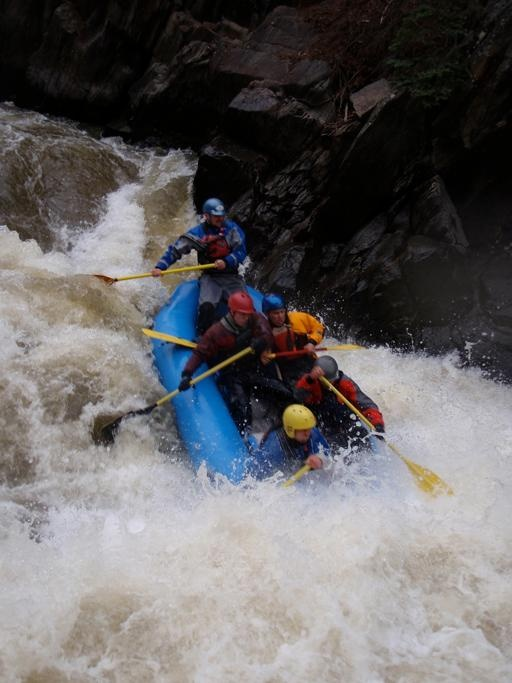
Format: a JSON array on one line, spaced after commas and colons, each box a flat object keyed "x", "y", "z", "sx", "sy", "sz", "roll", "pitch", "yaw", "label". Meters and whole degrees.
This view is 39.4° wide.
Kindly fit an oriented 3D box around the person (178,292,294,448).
[{"x": -0.120, "y": 0.310, "z": 6.964, "sx": 1.056, "sy": 1.507, "sz": 0.927, "roll": 13, "pitch": 25, "yaw": 34, "label": "person"}]

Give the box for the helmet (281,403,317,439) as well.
[{"x": 0.345, "y": 0.655, "z": 6.103, "sx": 0.306, "sy": 0.224, "sz": 0.232, "roll": 29, "pitch": 33, "yaw": 25, "label": "helmet"}]

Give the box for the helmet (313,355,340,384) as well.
[{"x": 0.645, "y": 0.225, "z": 6.655, "sx": 0.198, "sy": 0.201, "sz": 0.256, "roll": -30, "pitch": 54, "yaw": -3, "label": "helmet"}]

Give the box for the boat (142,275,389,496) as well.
[{"x": -0.577, "y": 0.473, "z": 7.122, "sx": 1.433, "sy": 0.464, "sz": 2.243, "roll": -16, "pitch": 56, "yaw": -8, "label": "boat"}]

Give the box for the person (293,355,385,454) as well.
[{"x": 0.752, "y": 0.564, "z": 6.675, "sx": 0.652, "sy": 0.439, "sz": 1.020, "roll": -11, "pitch": 46, "yaw": -15, "label": "person"}]

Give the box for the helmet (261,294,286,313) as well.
[{"x": 0.168, "y": -0.381, "z": 7.054, "sx": 0.162, "sy": 0.212, "sz": 0.186, "roll": -21, "pitch": 94, "yaw": -42, "label": "helmet"}]

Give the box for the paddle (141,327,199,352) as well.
[{"x": -0.888, "y": -0.034, "z": 7.100, "sx": 0.738, "sy": 0.049, "sz": 0.189, "roll": 21, "pitch": 48, "yaw": 27, "label": "paddle"}]

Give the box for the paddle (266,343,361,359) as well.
[{"x": 0.566, "y": 0.092, "z": 7.314, "sx": 1.083, "sy": 0.051, "sz": 0.162, "roll": -5, "pitch": 78, "yaw": -32, "label": "paddle"}]

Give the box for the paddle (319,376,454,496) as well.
[{"x": 1.193, "y": 0.905, "z": 6.614, "sx": 0.183, "sy": 0.103, "sz": 1.544, "roll": -47, "pitch": 56, "yaw": 1, "label": "paddle"}]

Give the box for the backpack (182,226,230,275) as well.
[{"x": -0.476, "y": -1.014, "z": 7.864, "sx": 0.411, "sy": 0.446, "sz": 0.220, "roll": 0, "pitch": 22, "yaw": 4, "label": "backpack"}]

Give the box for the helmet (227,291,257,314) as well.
[{"x": -0.137, "y": -0.369, "z": 6.781, "sx": 0.188, "sy": 0.122, "sz": 0.249, "roll": -12, "pitch": 30, "yaw": -38, "label": "helmet"}]

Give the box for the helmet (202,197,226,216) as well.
[{"x": -0.441, "y": -1.469, "z": 7.771, "sx": 0.211, "sy": 0.191, "sz": 0.179, "roll": 36, "pitch": 48, "yaw": 18, "label": "helmet"}]

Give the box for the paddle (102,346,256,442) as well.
[{"x": -0.695, "y": 0.513, "z": 6.652, "sx": 1.560, "sy": 0.160, "sz": 0.169, "roll": -28, "pitch": 69, "yaw": -20, "label": "paddle"}]
